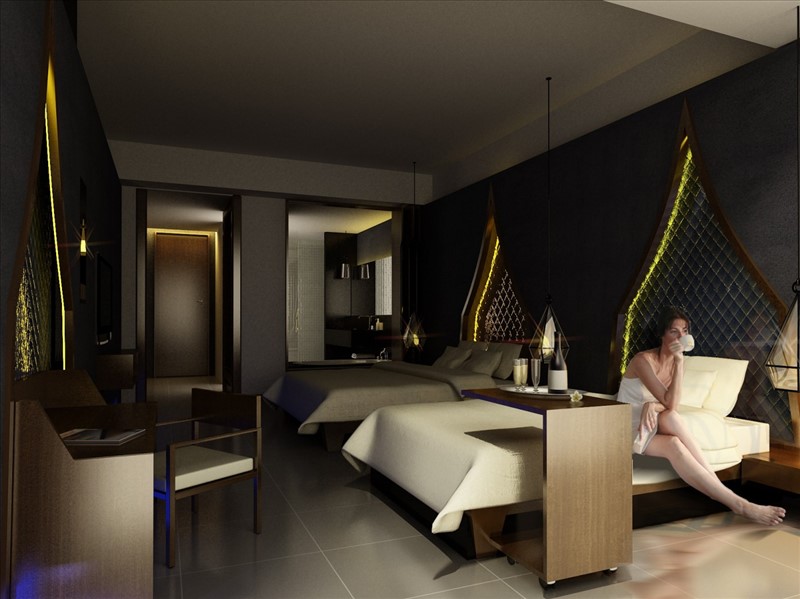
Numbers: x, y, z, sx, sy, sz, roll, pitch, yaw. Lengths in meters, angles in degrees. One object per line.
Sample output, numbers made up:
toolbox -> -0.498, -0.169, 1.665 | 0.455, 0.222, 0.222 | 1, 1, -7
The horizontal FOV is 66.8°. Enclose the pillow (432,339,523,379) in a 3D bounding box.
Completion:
pillow -> 0.890, 0.663, 6.936 | 0.362, 0.225, 0.844 | -24, 6, -32

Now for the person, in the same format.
person -> 1.877, 0.736, 3.854 | 0.475, 1.008, 1.380 | -4, 16, -13

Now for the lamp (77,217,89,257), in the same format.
lamp -> -2.544, -0.493, 4.889 | 0.068, 0.299, 0.598 | -3, 5, -27

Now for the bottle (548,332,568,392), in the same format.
bottle -> 0.945, 0.359, 3.636 | 0.104, 0.361, 0.345 | 1, 5, 14
